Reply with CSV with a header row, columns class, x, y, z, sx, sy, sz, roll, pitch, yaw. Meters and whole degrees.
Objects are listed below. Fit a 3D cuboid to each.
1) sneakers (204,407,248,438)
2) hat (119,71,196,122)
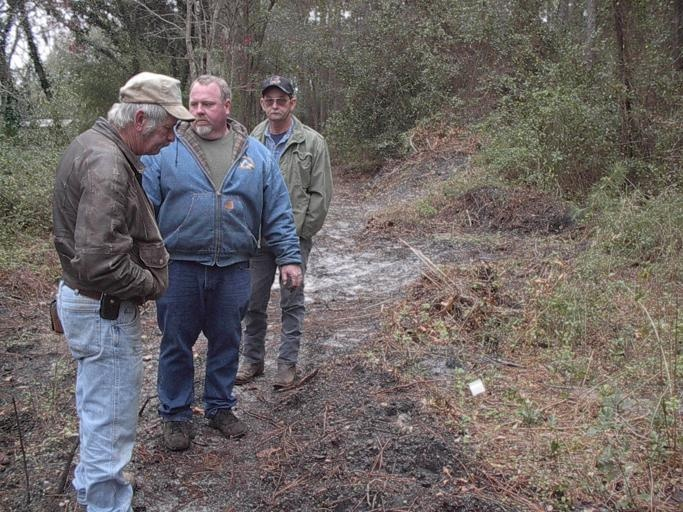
class,x,y,z,sx,sy,sz,roll,pitch,yaw
sneakers,-0.993,1.436,5.129,0.350,0.180,0.173,13,27,30
hat,-1.314,-1.161,4.240,0.446,0.257,0.302,1,16,-32
